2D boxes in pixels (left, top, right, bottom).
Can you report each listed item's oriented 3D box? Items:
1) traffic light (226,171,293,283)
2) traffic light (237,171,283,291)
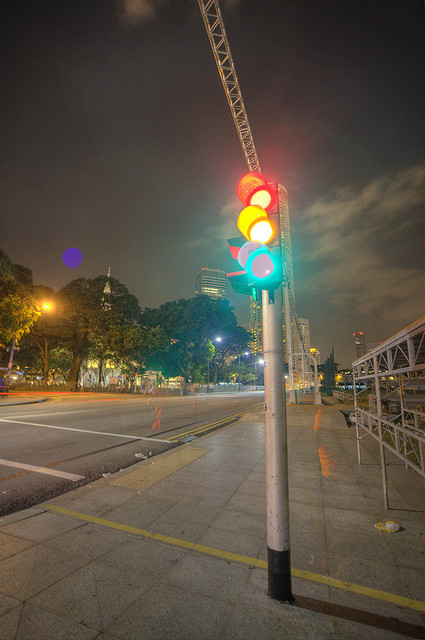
[{"bbox_3d":[0.465,-0.885,3.906,0.544,1.323,1.100,-2,-9,13],"label":"traffic light"},{"bbox_3d":[0.418,-0.800,3.600,0.386,1.143,0.525,0,-8,5],"label":"traffic light"}]
